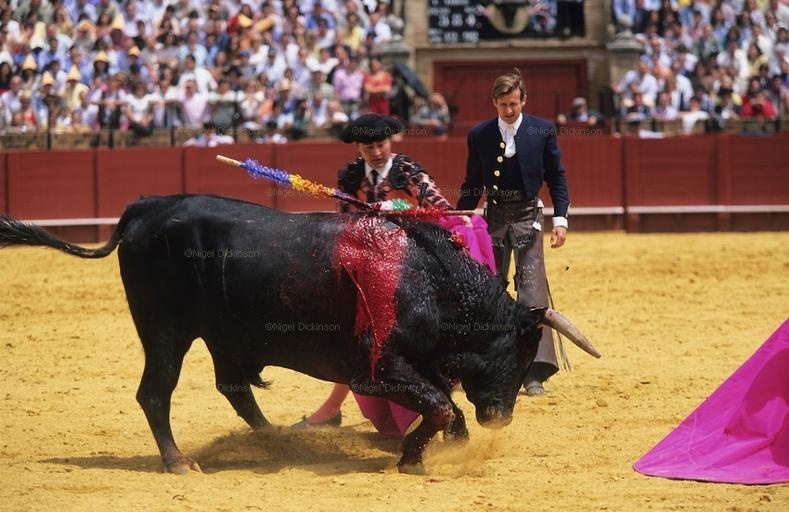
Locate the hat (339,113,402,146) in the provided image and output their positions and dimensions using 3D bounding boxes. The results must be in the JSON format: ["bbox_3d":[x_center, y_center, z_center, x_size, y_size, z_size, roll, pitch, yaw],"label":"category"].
[{"bbox_3d":[-0.236,-1.190,14.431,0.392,0.130,0.357,-9,2,26],"label":"hat"}]

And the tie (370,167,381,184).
[{"bbox_3d":[-0.183,-0.756,14.626,0.088,0.148,0.026,0,7,-6],"label":"tie"}]

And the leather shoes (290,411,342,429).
[{"bbox_3d":[-0.770,1.629,15.098,0.511,0.168,0.168,1,-1,-8],"label":"leather shoes"}]
